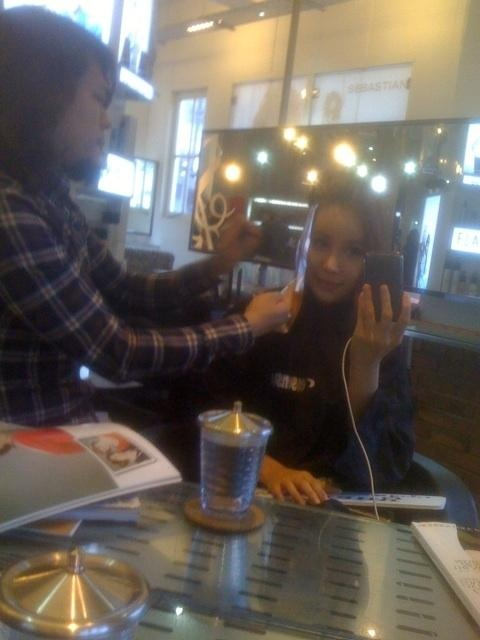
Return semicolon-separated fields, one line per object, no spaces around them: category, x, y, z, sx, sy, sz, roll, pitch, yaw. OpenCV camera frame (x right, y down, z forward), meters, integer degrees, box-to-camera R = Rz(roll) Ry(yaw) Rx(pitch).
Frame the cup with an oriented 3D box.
cup;-0.011;0.149;0.519;0.074;0.119;0.077;6;4;0

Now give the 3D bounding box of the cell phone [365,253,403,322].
cell phone;0.239;-0.059;0.801;0.067;0.142;0.014;1;-28;17
